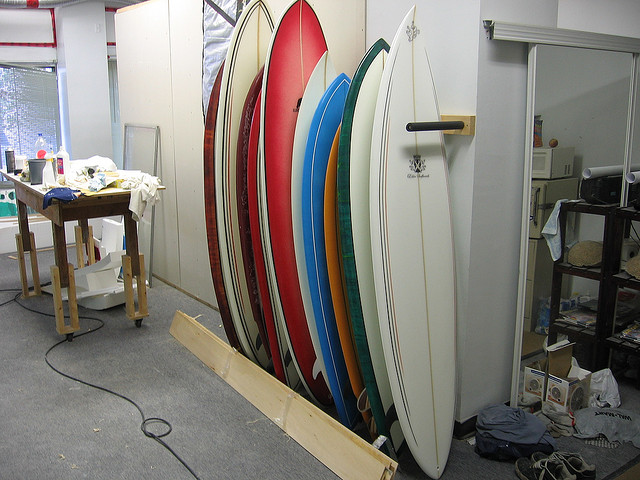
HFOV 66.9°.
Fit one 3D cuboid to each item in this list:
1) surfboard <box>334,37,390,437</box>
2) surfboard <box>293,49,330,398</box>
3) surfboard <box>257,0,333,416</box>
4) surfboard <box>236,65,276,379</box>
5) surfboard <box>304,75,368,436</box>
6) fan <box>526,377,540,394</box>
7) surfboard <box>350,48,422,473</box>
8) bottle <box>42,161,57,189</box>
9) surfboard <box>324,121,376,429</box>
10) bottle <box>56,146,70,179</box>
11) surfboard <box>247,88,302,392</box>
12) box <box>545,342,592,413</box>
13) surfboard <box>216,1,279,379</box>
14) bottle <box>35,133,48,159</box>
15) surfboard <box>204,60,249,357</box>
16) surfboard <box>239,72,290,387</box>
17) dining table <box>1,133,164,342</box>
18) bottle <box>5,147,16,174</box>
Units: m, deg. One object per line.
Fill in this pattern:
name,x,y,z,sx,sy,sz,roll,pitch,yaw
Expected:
surfboard,0.183,0.037,2.301,0.149,1.734,0.286,-1,4,23
surfboard,-0.076,-0.158,2.470,0.094,1.538,0.231,-1,2,19
surfboard,-0.181,-0.182,2.544,0.181,2.078,0.396,-2,1,38
surfboard,-0.393,-0.084,2.761,0.100,1.707,0.257,-3,4,18
surfboard,0.062,0.095,2.446,0.150,1.658,0.288,-1,2,29
fan,1.219,0.835,2.778,0.070,0.083,0.021,21,10,27
surfboard,0.266,0.037,2.293,0.138,2.224,0.318,-2,3,23
bottle,-2.060,-0.497,3.676,0.096,0.190,0.233,-8,14,-30
surfboard,0.143,0.182,2.416,0.117,1.454,0.241,0,4,31
bottle,-2.018,-0.609,3.803,0.089,0.241,0.268,-7,13,-28
surfboard,-0.215,0.015,2.672,0.139,1.595,0.280,-4,4,6
box,1.414,0.804,2.762,0.189,0.386,0.145,-10,18,-18
surfboard,-0.487,-0.191,2.812,0.201,2.208,0.390,-1,2,32
bottle,-3.372,-1.165,5.864,0.146,0.247,0.363,-9,14,-31
surfboard,-0.602,-0.120,2.871,0.158,1.757,0.279,-2,4,25
surfboard,-0.311,0.038,2.667,0.135,1.501,0.261,-5,2,11
dining table,-2.007,0.031,4.132,0.560,1.139,1.542,-6,17,-28
bottle,-2.786,-0.705,4.370,0.073,0.213,0.195,-8,14,-32
